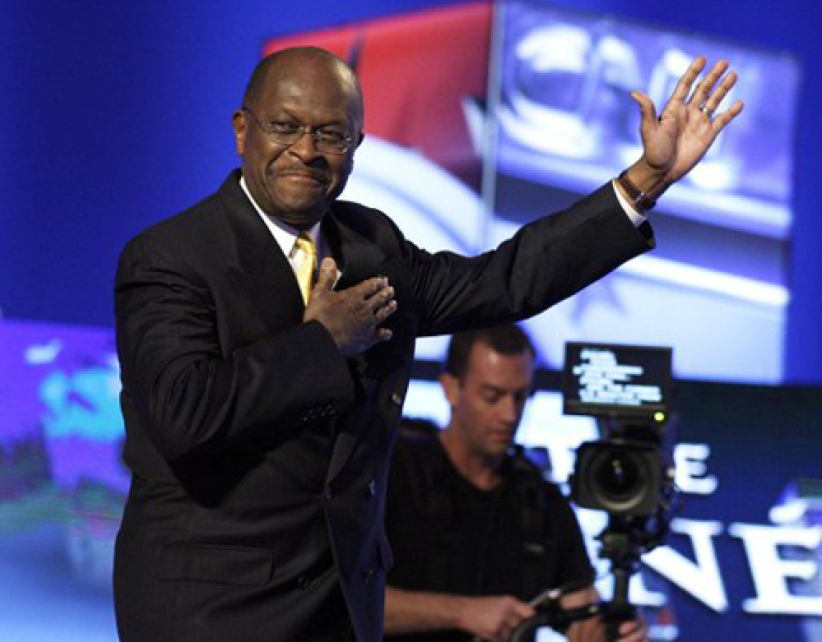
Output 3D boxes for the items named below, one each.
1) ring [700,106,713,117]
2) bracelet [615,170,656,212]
[{"bbox_3d":[0.774,-0.556,2.640,0.026,0.024,0.020,-3,16,-37],"label":"ring"},{"bbox_3d":[0.604,-0.348,2.662,0.040,0.107,0.103,-34,19,-3],"label":"bracelet"}]
